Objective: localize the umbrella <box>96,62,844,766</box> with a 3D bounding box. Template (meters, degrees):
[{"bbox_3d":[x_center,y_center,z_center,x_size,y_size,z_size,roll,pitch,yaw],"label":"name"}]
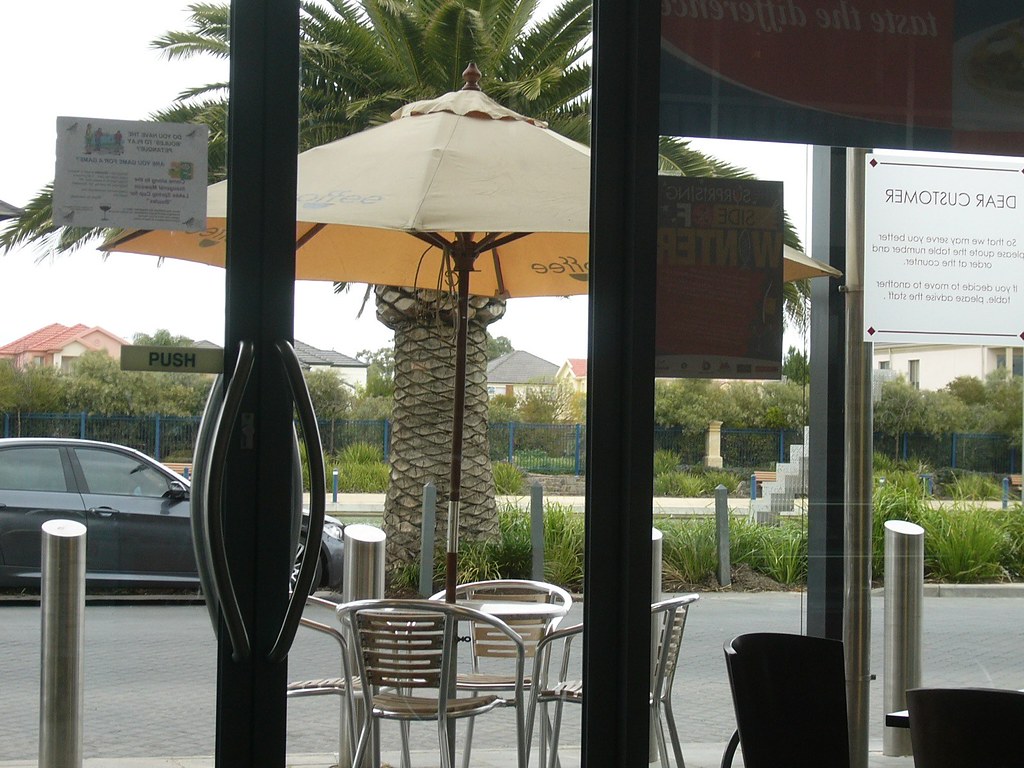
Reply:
[{"bbox_3d":[-0.367,-0.056,4.918,1.860,1.859,1.997,0,-3,-13],"label":"umbrella"}]
